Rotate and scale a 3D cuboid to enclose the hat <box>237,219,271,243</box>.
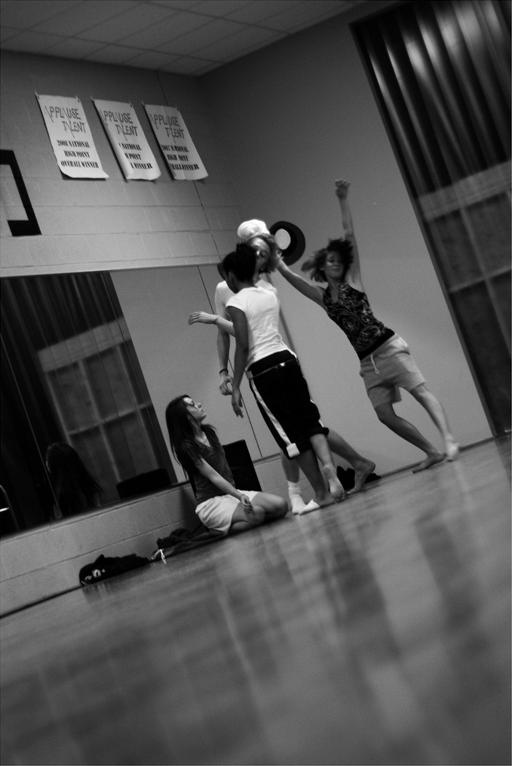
[{"bbox_3d":[-0.015,-0.759,2.568,0.119,0.137,0.168,-9,14,8],"label":"hat"}]

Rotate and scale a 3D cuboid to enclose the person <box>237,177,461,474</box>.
[{"bbox_3d":[0.519,-0.240,2.380,0.316,1.400,0.583,-19,0,-43],"label":"person"}]
